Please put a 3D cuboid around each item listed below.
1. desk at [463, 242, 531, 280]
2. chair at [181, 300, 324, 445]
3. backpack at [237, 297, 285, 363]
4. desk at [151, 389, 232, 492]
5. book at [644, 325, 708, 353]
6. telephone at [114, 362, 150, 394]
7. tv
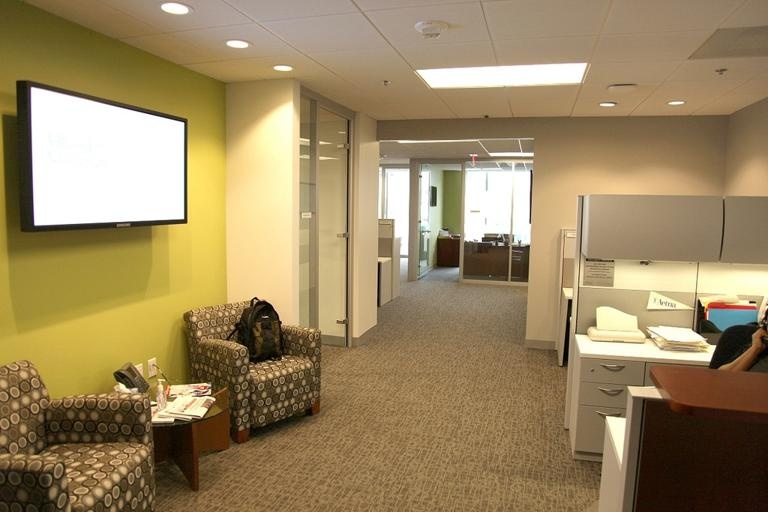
[{"bbox_3d":[2.606,0.127,12.319,1.482,0.907,0.808,1,1,20],"label":"desk"},{"bbox_3d":[-1.150,1.091,5.789,1.445,1.268,1.390,-14,-4,19],"label":"chair"},{"bbox_3d":[-1.302,0.757,5.776,0.487,0.646,0.650,-1,3,-12],"label":"backpack"},{"bbox_3d":[-1.725,1.529,4.659,0.816,0.497,0.824,6,7,41],"label":"desk"},{"bbox_3d":[2.609,0.728,4.833,0.419,0.140,0.395,1,12,1],"label":"book"},{"bbox_3d":[-2.212,1.062,4.760,0.125,0.204,0.218,-25,9,-3],"label":"telephone"},{"bbox_3d":[-2.407,-0.834,4.572,0.144,0.864,1.490,3,3,21],"label":"tv"}]
